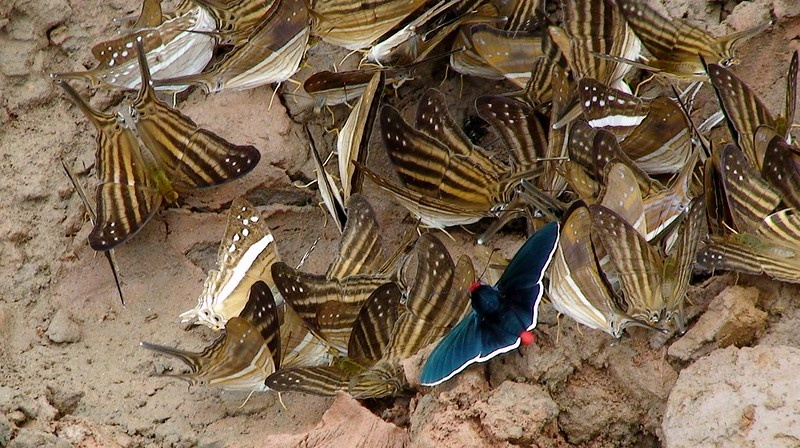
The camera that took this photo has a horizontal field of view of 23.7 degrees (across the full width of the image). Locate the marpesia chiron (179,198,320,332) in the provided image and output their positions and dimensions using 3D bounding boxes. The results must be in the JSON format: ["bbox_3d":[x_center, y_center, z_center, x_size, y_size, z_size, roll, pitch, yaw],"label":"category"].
[{"bbox_3d":[-0.852,0.225,10.125,0.617,0.642,0.270,-34,49,-11],"label":"marpesia chiron"}]

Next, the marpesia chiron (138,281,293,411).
[{"bbox_3d":[-0.864,0.671,9.794,0.640,0.495,0.290,-35,60,-10],"label":"marpesia chiron"}]
